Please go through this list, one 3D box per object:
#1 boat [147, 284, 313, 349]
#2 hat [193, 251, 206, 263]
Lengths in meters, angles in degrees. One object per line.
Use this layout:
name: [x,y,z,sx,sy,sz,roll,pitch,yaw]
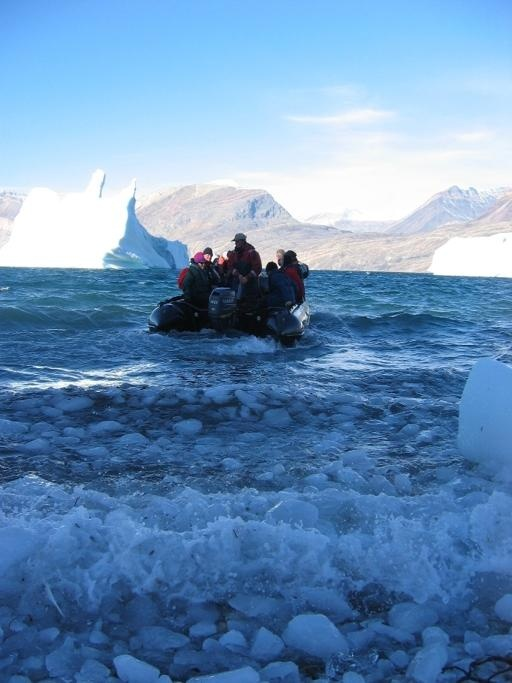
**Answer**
boat: [-0.485,-0.482,11.136,2.658,0.899,1.524,3,9,7]
hat: [-0.988,-1.452,11.259,0.230,0.165,0.068,-5,7,25]
